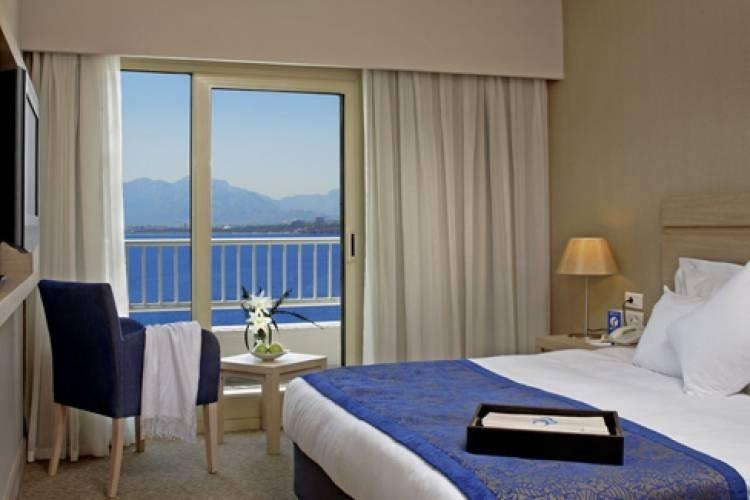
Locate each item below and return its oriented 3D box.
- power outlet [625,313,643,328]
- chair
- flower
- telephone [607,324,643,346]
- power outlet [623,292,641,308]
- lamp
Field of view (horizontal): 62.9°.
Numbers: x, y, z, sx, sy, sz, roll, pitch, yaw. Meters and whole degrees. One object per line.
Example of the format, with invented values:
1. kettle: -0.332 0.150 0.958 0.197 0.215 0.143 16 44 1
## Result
1. power outlet: 1.953 0.529 4.603 0.024 0.099 0.100 3 -2 -23
2. chair: -1.702 0.860 4.177 1.148 1.353 0.722 2 9 23
3. flower: -0.737 0.583 4.773 0.658 0.540 0.460 5 4 43
4. telephone: 1.797 0.595 4.368 0.179 0.062 0.141 -7 4 -31
5. power outlet: 1.958 0.381 4.639 0.089 0.121 0.169 0 -1 -22
6. lamp: 1.686 0.314 4.877 0.414 0.896 0.437 -10 15 -20
